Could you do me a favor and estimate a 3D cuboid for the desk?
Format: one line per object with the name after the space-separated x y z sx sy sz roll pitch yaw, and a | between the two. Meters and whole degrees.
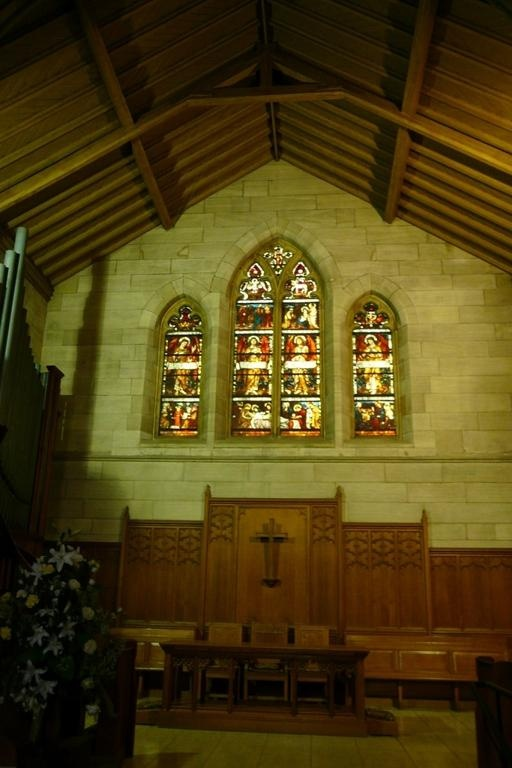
0.058 3.035 6.479 1.959 0.785 2.571 1 -18 3 | desk
